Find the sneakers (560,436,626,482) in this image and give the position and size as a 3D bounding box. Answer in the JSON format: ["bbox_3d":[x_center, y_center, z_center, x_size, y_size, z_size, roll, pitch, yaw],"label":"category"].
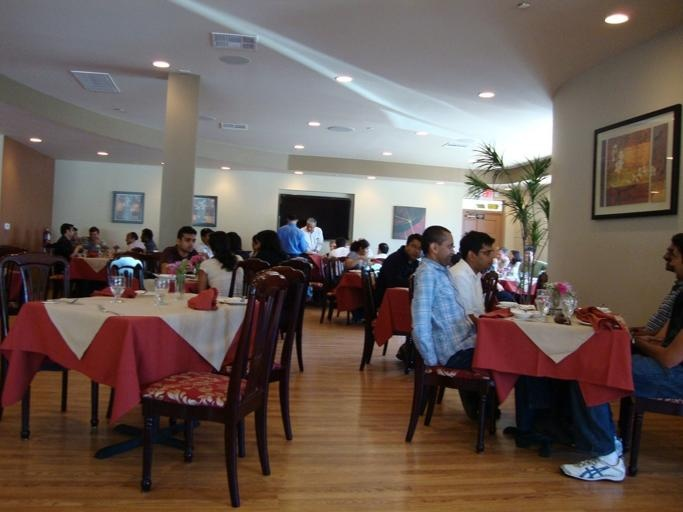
[{"bbox_3d":[1.577,1.289,3.318,0.439,0.304,0.188,1,-4,4],"label":"sneakers"}]
